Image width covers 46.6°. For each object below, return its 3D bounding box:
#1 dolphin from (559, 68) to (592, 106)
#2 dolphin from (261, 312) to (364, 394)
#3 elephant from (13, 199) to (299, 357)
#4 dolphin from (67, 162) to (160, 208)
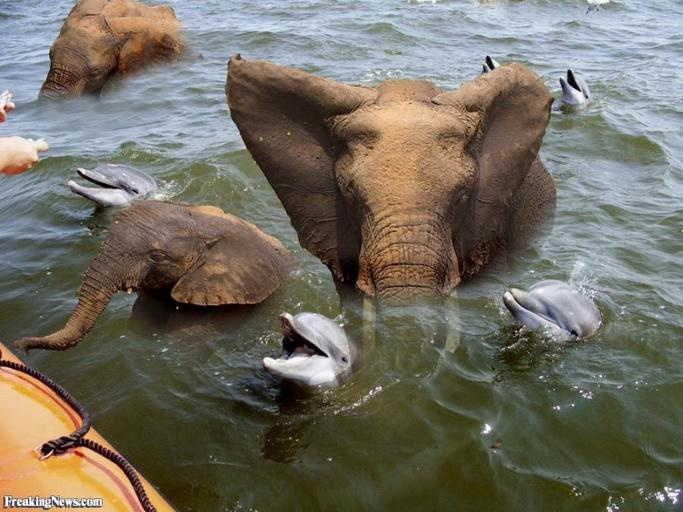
[{"bbox_3d":[3.883,-2.779,13.207,0.389,0.347,1.019,11,0,15],"label":"dolphin"},{"bbox_3d":[-0.225,0.793,6.843,1.022,0.614,0.591,9,6,-32],"label":"dolphin"},{"bbox_3d":[-1.641,0.031,7.845,2.203,1.141,1.235,-4,30,-39],"label":"elephant"},{"bbox_3d":[-2.867,-0.869,9.941,0.672,0.404,1.044,18,25,30],"label":"dolphin"}]
